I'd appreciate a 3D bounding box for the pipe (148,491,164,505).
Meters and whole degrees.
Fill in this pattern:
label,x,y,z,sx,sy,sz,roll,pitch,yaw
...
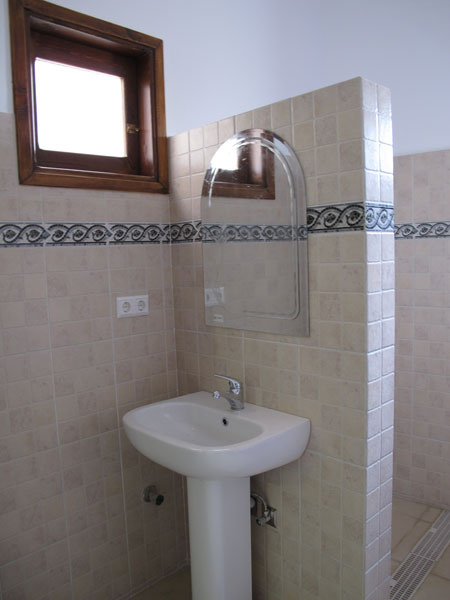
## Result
label,x,y,z,sx,sy,sz,roll,pitch,yaw
pipe,-0.284,0.816,2.111,0.058,0.030,0.057,-8,23,-40

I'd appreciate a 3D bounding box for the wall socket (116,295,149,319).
label,x,y,z,sx,sy,sz,roll,pitch,yaw
wall socket,-0.364,0.024,2.034,0.008,0.097,0.165,3,11,40

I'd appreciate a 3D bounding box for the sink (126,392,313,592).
label,x,y,z,sx,sy,sz,roll,pitch,yaw
sink,-0.033,0.742,1.756,0.430,0.747,0.564,-11,11,-38

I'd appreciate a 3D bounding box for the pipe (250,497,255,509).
label,x,y,z,sx,sy,sz,roll,pitch,yaw
pipe,0.101,0.727,1.835,0.005,0.024,0.022,10,-1,-22
